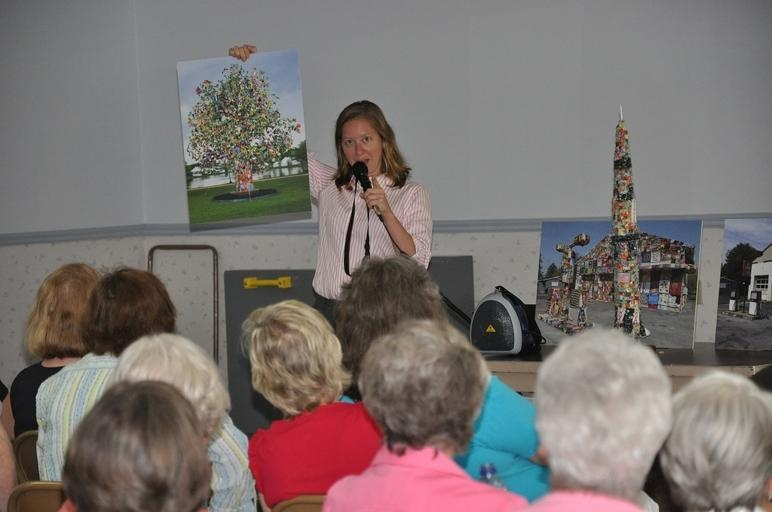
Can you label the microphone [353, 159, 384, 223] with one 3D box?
[{"bbox_3d":[-0.125,-0.393,2.876,0.102,0.408,0.104,-19,-27,-3],"label":"microphone"}]
